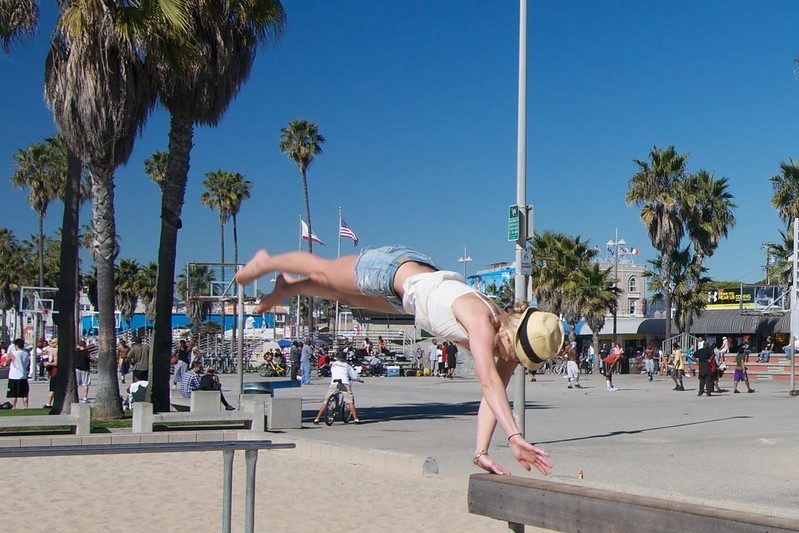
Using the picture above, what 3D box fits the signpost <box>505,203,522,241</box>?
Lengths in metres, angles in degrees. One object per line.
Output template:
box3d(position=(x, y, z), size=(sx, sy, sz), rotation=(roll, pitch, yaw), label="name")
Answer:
box3d(position=(2.829, -1.033, 24.038), size=(0.303, 0.868, 0.118), rotation=(-7, -9, 35), label="signpost")

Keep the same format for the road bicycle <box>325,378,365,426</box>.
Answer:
box3d(position=(-1.668, 3.999, 28.550), size=(0.651, 0.928, 1.402), rotation=(-6, -7, 26), label="road bicycle")

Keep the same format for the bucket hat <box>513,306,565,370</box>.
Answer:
box3d(position=(2.378, 1.118, 16.443), size=(1.001, 0.497, 1.337), rotation=(24, 25, -1), label="bucket hat")

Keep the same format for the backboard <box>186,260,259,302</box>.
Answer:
box3d(position=(-5.119, 0.485, 27.409), size=(2.097, 1.308, 1.161), rotation=(1, -1, 16), label="backboard")

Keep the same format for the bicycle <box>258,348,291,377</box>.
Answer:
box3d(position=(-6.250, 5.004, 49.923), size=(1.758, 1.288, 0.910), rotation=(5, -4, -12), label="bicycle")

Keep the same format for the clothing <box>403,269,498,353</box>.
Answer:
box3d(position=(0.835, 0.596, 16.939), size=(1.297, 0.653, 1.118), rotation=(27, -44, 19), label="clothing")
